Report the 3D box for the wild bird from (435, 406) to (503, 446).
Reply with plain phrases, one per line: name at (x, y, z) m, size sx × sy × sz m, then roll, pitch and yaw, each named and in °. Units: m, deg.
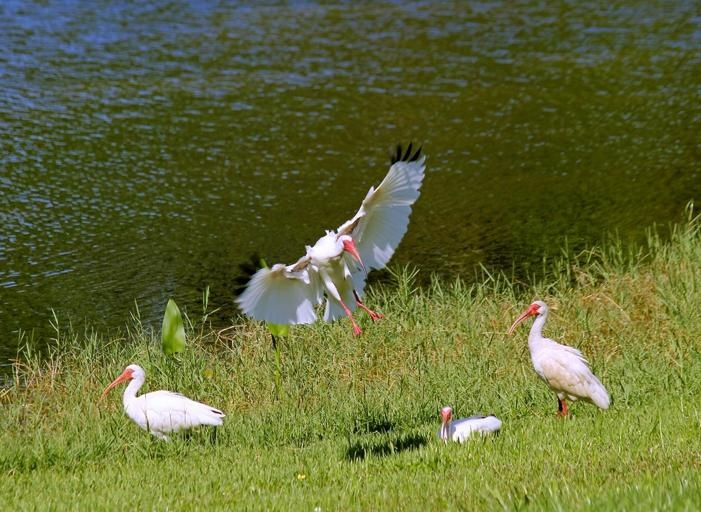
wild bird at (1.661, 2.409, 12.714) m, size 0.742 × 0.500 × 0.463 m, roll -14°, pitch 93°, yaw -34°
